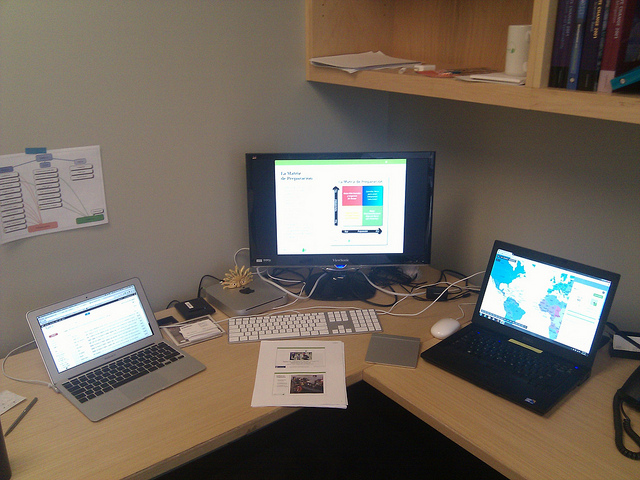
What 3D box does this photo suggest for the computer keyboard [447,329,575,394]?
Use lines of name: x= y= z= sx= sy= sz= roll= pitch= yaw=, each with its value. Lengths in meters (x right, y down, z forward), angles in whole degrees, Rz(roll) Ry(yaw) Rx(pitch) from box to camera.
computer keyboard: x=0.553 y=0.350 z=1.490 sx=0.145 sy=0.042 sz=0.319 roll=-17 pitch=24 yaw=-42

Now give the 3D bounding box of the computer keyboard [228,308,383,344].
computer keyboard: x=-0.052 y=0.286 z=1.686 sx=0.500 sy=0.038 sz=0.127 roll=-3 pitch=18 yaw=-7

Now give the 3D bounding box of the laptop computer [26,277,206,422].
laptop computer: x=-0.586 y=0.368 z=1.473 sx=0.417 sy=0.245 sz=0.413 roll=-24 pitch=35 yaw=-38

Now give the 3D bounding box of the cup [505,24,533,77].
cup: x=0.551 y=-0.527 z=1.403 sx=0.044 sy=0.134 sz=0.087 roll=-8 pitch=20 yaw=-20

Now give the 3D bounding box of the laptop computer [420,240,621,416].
laptop computer: x=0.555 y=0.238 z=1.466 sx=0.484 sy=0.270 sz=0.477 roll=-14 pitch=24 yaw=-19
